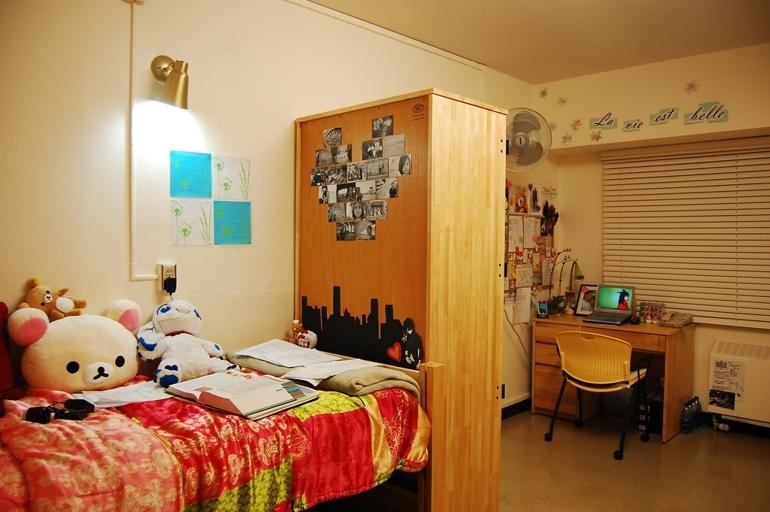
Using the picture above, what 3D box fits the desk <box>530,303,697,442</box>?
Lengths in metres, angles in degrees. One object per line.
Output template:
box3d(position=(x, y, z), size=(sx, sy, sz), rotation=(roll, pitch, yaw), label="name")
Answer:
box3d(position=(2.141, 1.117, 5.045), size=(1.240, 0.869, 0.709), rotation=(-1, -3, 35), label="desk")

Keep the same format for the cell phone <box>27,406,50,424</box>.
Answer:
box3d(position=(-1.531, 0.702, 2.301), size=(0.088, 0.088, 0.064), rotation=(3, -7, -22), label="cell phone")

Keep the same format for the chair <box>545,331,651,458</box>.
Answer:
box3d(position=(1.929, 1.144, 4.662), size=(0.772, 0.999, 0.772), rotation=(1, -1, 30), label="chair")

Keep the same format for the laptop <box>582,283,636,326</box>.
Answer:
box3d(position=(2.172, 0.459, 5.069), size=(0.393, 0.333, 0.363), rotation=(-10, 8, -42), label="laptop")

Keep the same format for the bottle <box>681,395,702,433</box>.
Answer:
box3d(position=(2.809, 1.463, 4.790), size=(0.114, 0.302, 0.326), rotation=(-5, -4, 42), label="bottle")

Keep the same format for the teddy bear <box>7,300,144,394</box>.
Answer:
box3d(position=(-1.612, 0.374, 2.715), size=(0.625, 0.473, 0.410), rotation=(-1, -13, -43), label="teddy bear")

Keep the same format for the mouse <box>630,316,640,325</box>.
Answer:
box3d(position=(2.359, 0.605, 4.917), size=(0.072, 0.055, 0.074), rotation=(-7, -5, 36), label="mouse")

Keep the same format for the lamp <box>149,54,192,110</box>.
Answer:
box3d(position=(-1.250, -1.042, 3.043), size=(0.266, 0.271, 0.176), rotation=(19, 14, 10), label="lamp")

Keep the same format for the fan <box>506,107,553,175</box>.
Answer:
box3d(position=(1.214, -1.018, 4.491), size=(0.425, 0.515, 0.144), rotation=(-3, 10, -12), label="fan")

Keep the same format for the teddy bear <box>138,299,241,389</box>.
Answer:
box3d(position=(-1.135, 0.477, 2.967), size=(0.498, 0.526, 0.427), rotation=(2, -20, -35), label="teddy bear")
